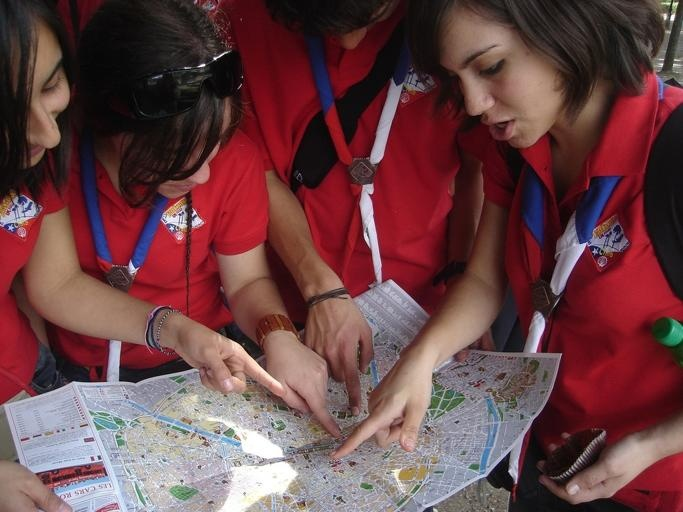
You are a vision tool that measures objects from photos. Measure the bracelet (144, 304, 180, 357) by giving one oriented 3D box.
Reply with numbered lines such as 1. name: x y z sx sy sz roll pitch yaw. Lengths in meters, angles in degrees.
1. bracelet: -0.502 0.188 1.457 0.040 0.100 0.107 8 5 7

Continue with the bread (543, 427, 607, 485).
1. bread: 0.539 0.466 1.241 0.037 0.140 0.143 35 76 4
